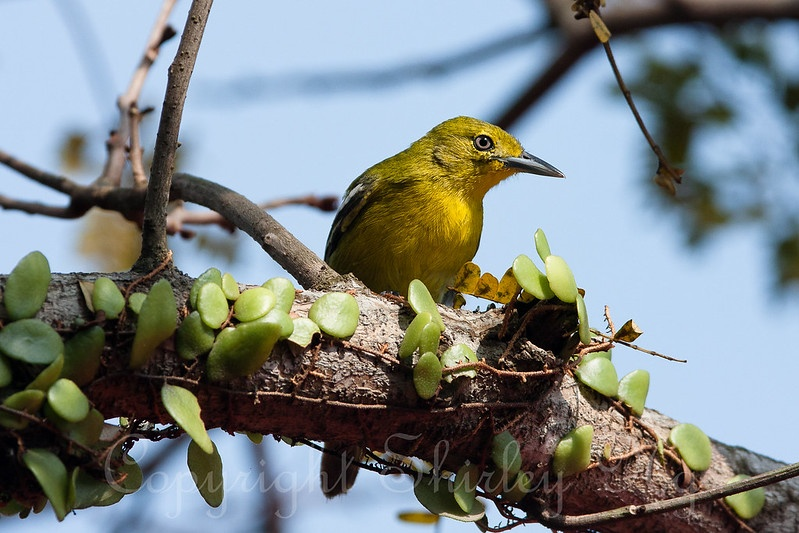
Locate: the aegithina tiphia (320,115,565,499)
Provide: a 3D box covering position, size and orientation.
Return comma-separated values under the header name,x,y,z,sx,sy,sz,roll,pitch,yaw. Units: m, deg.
name,x,y,z,sx,sy,sz,roll,pitch,yaw
aegithina tiphia,0.045,-0.266,8.293,2.307,2.640,1.341,-13,-14,26
